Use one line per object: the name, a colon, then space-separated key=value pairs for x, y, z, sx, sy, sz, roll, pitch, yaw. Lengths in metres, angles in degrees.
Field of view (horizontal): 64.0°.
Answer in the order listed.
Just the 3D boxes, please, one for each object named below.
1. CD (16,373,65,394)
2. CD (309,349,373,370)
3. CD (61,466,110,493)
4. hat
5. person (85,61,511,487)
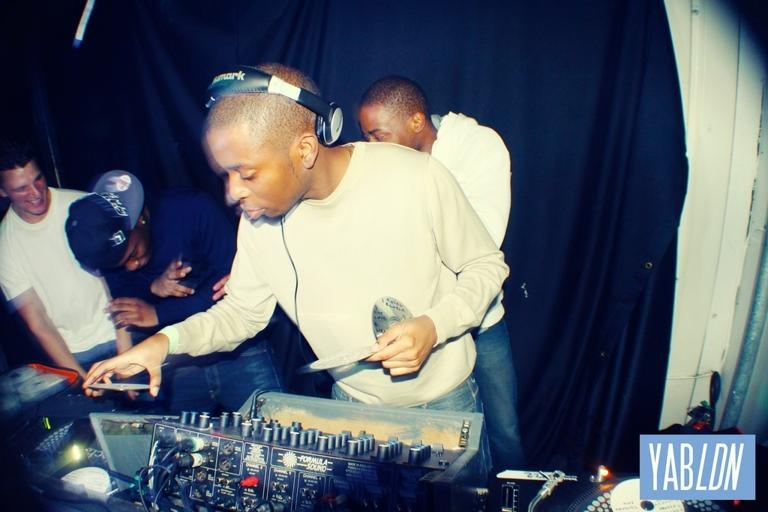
CD: x=-1.703 y=0.636 z=3.062 sx=0.201 sy=0.090 sz=0.066 roll=-2 pitch=5 yaw=-30
CD: x=-0.162 y=0.417 z=2.487 sx=0.138 sy=0.025 sz=0.098 roll=-21 pitch=-1 yaw=-6
CD: x=-1.140 y=0.860 z=2.383 sx=0.202 sy=0.059 sz=0.075 roll=2 pitch=5 yaw=11
hat: x=-1.472 y=-0.224 z=3.492 sx=0.369 sy=0.574 sz=0.205 roll=11 pitch=-16 yaw=25
person: x=-0.224 y=-0.105 z=2.499 sx=1.457 sy=1.295 sz=0.435 roll=1 pitch=4 yaw=7
